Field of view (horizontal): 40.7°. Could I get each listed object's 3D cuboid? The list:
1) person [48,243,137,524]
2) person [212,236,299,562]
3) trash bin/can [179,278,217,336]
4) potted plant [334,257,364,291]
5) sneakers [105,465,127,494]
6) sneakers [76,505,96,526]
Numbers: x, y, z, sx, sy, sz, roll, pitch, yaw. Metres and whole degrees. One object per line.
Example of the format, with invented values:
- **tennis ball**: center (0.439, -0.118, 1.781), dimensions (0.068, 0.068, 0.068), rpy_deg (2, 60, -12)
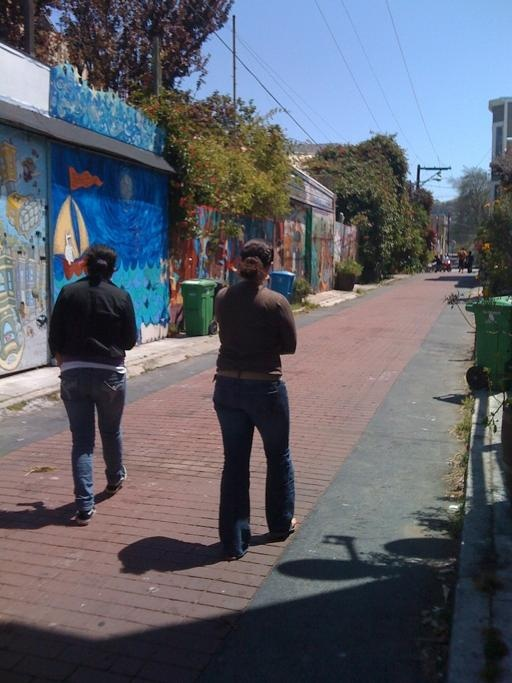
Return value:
- **person**: center (-1.046, 0.367, 4.501), dimensions (0.429, 1.500, 0.523), rpy_deg (5, 7, 44)
- **person**: center (-0.002, 0.313, 3.884), dimensions (0.495, 1.760, 0.376), rpy_deg (-2, 6, -17)
- **trash bin/can**: center (-1.149, -0.670, 13.972), dimensions (0.713, 1.154, 0.755), rpy_deg (-1, 6, -6)
- **potted plant**: center (4.081, -2.960, 30.984), dimensions (1.220, 1.417, 1.179), rpy_deg (-1, 6, -5)
- **sneakers**: center (-0.991, 0.987, 4.965), dimensions (0.080, 0.103, 0.260), rpy_deg (8, 43, 7)
- **sneakers**: center (-1.063, 1.091, 4.323), dimensions (0.056, 0.076, 0.162), rpy_deg (1, 8, 6)
